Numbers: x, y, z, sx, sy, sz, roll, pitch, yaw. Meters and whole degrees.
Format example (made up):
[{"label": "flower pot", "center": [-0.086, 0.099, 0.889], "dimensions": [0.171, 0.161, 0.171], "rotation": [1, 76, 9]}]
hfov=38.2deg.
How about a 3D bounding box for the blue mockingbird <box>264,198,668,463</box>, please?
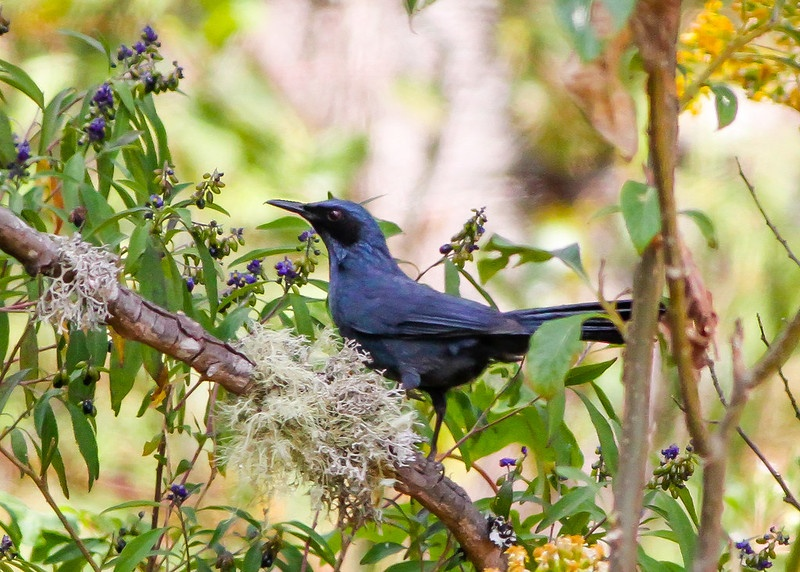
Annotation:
[{"label": "blue mockingbird", "center": [0.239, 0.162, 4.809], "dimensions": [2.112, 1.379, 0.577], "rotation": [0, -10, 14]}]
